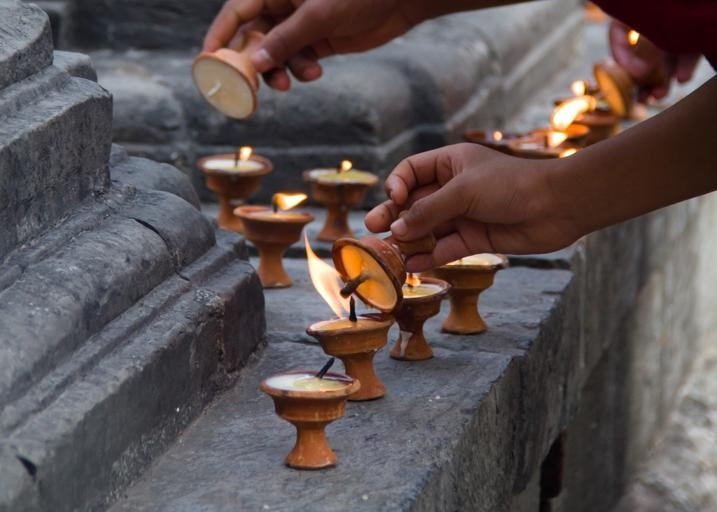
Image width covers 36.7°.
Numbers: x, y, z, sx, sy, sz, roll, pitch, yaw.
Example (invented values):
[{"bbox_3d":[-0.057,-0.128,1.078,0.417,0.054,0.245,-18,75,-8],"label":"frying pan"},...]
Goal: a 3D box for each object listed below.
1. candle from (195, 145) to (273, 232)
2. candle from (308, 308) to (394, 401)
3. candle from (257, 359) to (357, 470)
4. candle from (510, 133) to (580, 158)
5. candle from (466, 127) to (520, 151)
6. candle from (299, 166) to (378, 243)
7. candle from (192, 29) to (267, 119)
[{"bbox_3d":[-0.573,-0.309,4.768,0.305,0.406,0.289,-15,23,-26],"label":"candle"},{"bbox_3d":[-0.012,0.314,3.654,0.286,0.288,0.316,-14,20,-41],"label":"candle"},{"bbox_3d":[-0.142,0.476,3.299,0.299,0.297,0.267,1,7,6],"label":"candle"},{"bbox_3d":[0.909,-0.522,5.285,0.302,0.101,0.282,-5,17,-8],"label":"candle"},{"bbox_3d":[0.732,-0.614,5.701,0.325,0.109,0.311,-3,16,-9],"label":"candle"},{"bbox_3d":[-0.081,-0.241,5.058,0.368,0.288,0.355,7,9,10],"label":"candle"},{"bbox_3d":[-0.429,-0.539,3.442,0.227,0.223,0.111,9,23,8],"label":"candle"}]
